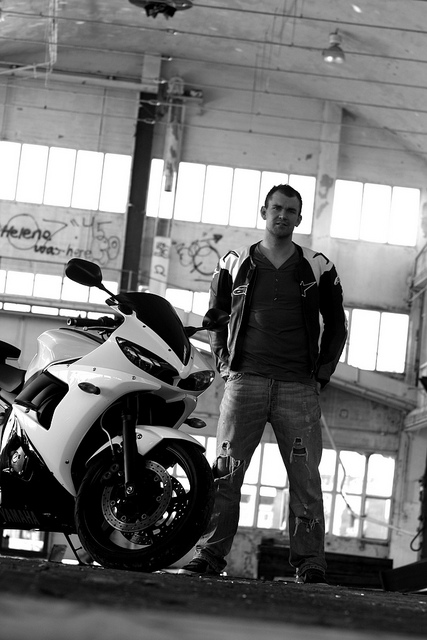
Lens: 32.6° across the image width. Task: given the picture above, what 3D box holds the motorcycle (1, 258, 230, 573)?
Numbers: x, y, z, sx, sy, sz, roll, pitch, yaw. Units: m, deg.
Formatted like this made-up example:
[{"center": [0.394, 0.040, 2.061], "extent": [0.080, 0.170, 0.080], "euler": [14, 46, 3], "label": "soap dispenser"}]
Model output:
[{"center": [-0.399, 0.351, 2.503], "extent": [0.908, 0.890, 0.407], "euler": [6, -3, 27], "label": "motorcycle"}]

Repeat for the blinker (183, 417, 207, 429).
[{"center": [-0.097, 0.409, 2.848], "extent": [0.139, 0.032, 0.038], "euler": [5, -1, 33], "label": "blinker"}]

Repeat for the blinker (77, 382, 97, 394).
[{"center": [-0.414, 0.222, 2.378], "extent": [0.053, 0.030, 0.017], "euler": [21, -1, 9], "label": "blinker"}]
